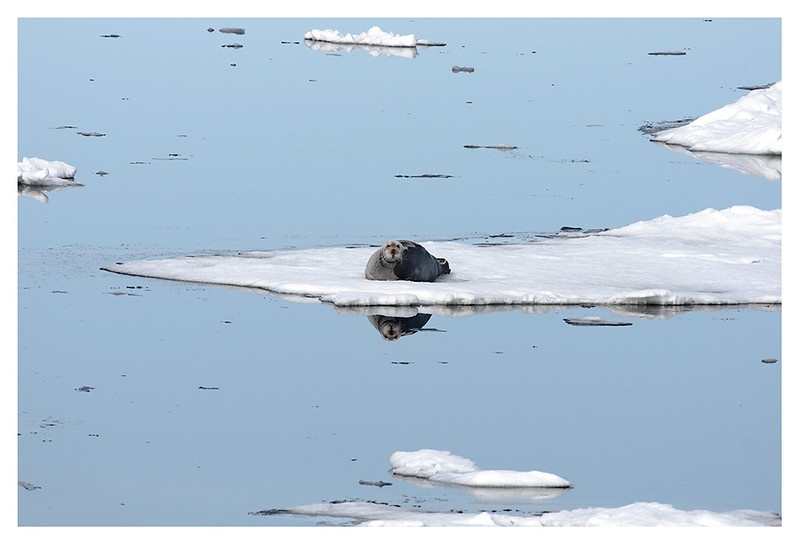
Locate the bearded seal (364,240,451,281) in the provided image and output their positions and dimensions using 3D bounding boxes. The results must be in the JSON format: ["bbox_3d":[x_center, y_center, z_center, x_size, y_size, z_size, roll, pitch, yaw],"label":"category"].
[{"bbox_3d":[0.156,-0.117,30.017,1.279,0.772,0.614,7,-8,-32],"label":"bearded seal"}]
